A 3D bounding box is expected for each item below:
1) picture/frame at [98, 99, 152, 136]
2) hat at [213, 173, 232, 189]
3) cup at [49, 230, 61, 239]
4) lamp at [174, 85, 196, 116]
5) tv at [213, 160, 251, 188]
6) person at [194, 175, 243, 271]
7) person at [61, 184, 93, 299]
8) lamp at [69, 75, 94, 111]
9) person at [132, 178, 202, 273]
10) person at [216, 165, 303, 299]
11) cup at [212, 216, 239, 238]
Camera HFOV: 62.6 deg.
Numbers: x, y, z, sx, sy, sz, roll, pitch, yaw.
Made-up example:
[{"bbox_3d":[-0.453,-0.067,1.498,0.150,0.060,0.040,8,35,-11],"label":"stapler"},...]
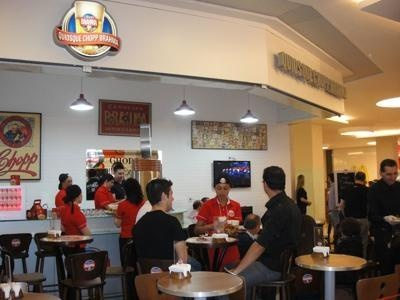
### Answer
[{"bbox_3d":[-1.780,-0.740,7.518,0.972,0.674,0.035,1,-4,-26],"label":"picture/frame"},{"bbox_3d":[0.305,0.406,4.703,0.306,0.266,0.358,1,1,14],"label":"hat"},{"bbox_3d":[-1.962,1.129,4.434,0.112,0.117,0.212,-1,-3,6],"label":"cup"},{"bbox_3d":[-0.386,-1.208,7.649,0.446,0.873,1.510,-1,-3,-4],"label":"lamp"},{"bbox_3d":[0.725,0.558,7.779,0.719,0.493,0.072,2,-7,-24],"label":"tv"},{"bbox_3d":[0.306,1.198,4.576,0.625,1.494,0.570,9,-13,-43],"label":"person"},{"bbox_3d":[-1.716,1.252,4.547,0.368,1.522,0.757,0,-4,-23],"label":"person"},{"bbox_3d":[-2.480,-1.235,6.873,0.379,0.875,1.143,0,-4,-21],"label":"lamp"},{"bbox_3d":[-0.395,0.701,3.267,0.490,0.818,0.630,0,-4,-18],"label":"person"},{"bbox_3d":[0.701,0.845,3.390,0.706,1.349,0.380,-1,-3,3],"label":"person"},{"bbox_3d":[0.325,0.975,4.168,0.287,0.284,0.253,-1,-2,12],"label":"cup"}]
